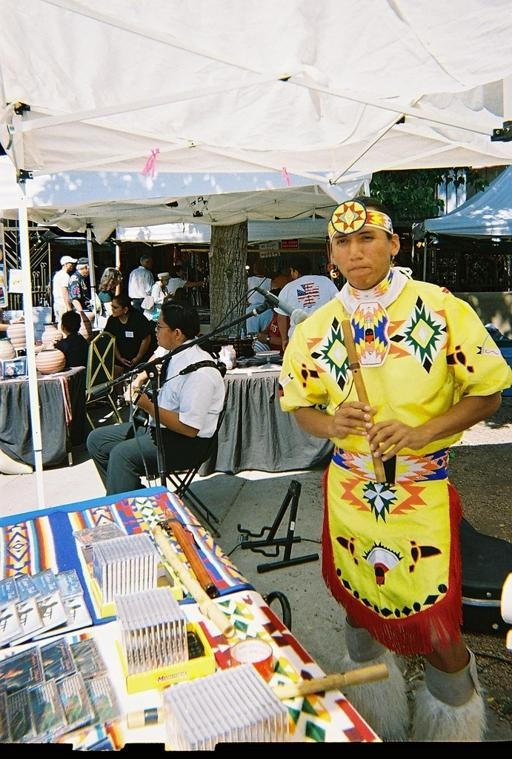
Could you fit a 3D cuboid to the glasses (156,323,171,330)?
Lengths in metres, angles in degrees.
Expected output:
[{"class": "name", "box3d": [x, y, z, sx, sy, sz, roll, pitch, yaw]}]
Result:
[{"class": "glasses", "box3d": [-0.548, -0.316, 3.356, 0.064, 0.019, 0.060, -13, 12, -13]}]

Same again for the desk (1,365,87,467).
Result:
[{"class": "desk", "box3d": [-2.003, 0.380, 5.432, 1.013, 0.896, 1.110, 0, 13, -6]}]

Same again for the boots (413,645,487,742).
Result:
[{"class": "boots", "box3d": [0.542, 0.929, 1.622, 0.200, 0.259, 0.151, -1, 2, 14]}]

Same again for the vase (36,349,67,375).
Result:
[{"class": "vase", "box3d": [-1.954, -0.166, 5.429, 0.246, 0.214, 0.235, -6, -14, -9]}]

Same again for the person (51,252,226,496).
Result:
[{"class": "person", "box3d": [-0.618, 0.002, 3.563, 0.753, 1.288, 0.547, -1, 2, -30]}]

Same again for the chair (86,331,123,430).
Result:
[{"class": "chair", "box3d": [-1.564, -0.006, 5.839, 0.547, 1.126, 0.526, 0, 14, -19]}]
